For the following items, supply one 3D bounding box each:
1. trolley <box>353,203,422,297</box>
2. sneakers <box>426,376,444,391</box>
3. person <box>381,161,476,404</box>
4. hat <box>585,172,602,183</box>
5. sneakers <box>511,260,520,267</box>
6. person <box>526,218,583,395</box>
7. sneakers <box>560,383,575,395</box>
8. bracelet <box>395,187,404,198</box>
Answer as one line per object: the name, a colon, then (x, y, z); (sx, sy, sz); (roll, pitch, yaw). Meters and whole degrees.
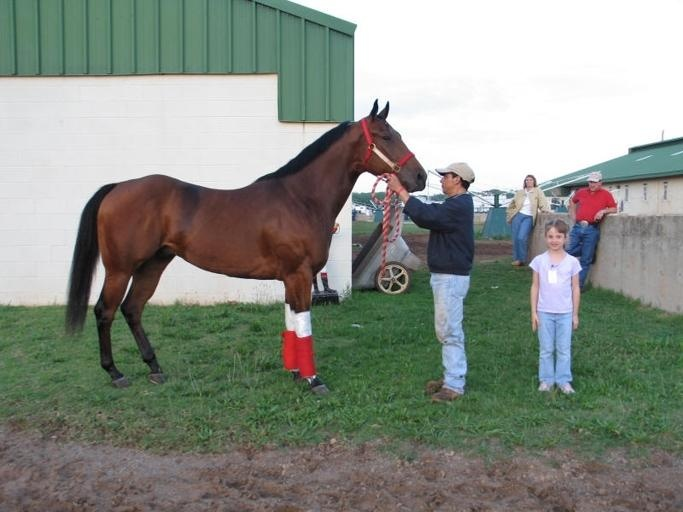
trolley: (0.776, -0.132, 11.760); (1.379, 1.651, 1.078); (1, 0, -3)
sneakers: (0.947, 1.317, 6.620); (0.140, 0.109, 0.056); (-36, 5, 10)
person: (0.958, 0.236, 6.469); (0.694, 2.341, 0.737); (1, 12, 12)
hat: (4.388, -1.381, 11.143); (0.172, 0.104, 0.276); (5, 22, 31)
sneakers: (3.991, 0.164, 14.821); (0.213, 0.164, 0.084); (8, 11, 31)
person: (2.165, 0.489, 6.572); (0.478, 1.704, 0.583); (2, 12, 17)
sneakers: (2.268, 1.344, 6.493); (0.075, 0.051, 0.123); (19, 16, 19)
bracelet: (0.586, -0.640, 6.481); (0.020, 0.084, 0.085); (9, -4, -14)
